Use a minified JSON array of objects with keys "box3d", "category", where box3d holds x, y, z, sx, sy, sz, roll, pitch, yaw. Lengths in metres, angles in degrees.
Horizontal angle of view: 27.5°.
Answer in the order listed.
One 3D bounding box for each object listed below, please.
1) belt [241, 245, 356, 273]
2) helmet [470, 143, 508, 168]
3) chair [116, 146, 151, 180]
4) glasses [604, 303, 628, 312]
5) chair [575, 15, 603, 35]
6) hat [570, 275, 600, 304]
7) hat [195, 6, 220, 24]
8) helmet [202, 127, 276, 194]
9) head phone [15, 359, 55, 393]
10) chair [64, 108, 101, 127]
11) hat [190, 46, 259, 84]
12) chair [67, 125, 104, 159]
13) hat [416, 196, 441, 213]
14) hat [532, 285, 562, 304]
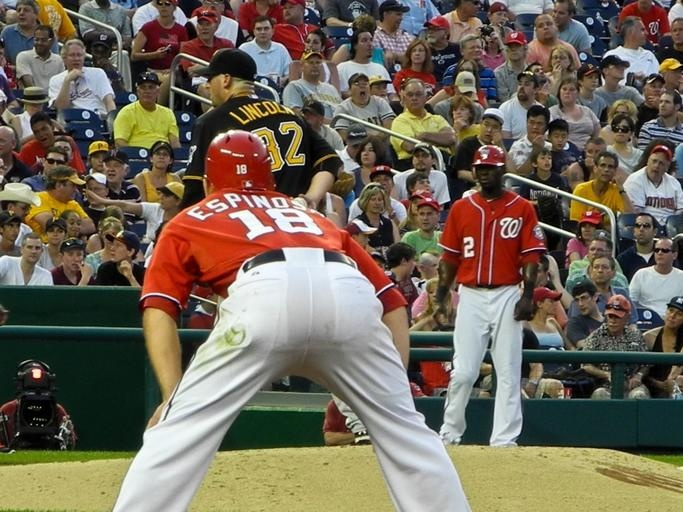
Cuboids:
[{"box3d":[-0.270,0.029,8.912,0.732,0.149,0.105,1,3,-7],"category":"belt"},{"box3d":[1.302,-0.878,12.279,0.274,0.187,0.203,1,2,0],"category":"helmet"},{"box3d":[-2.326,-1.105,15.970,0.366,0.426,0.370,3,-27,-12],"category":"chair"},{"box3d":[2.567,0.474,12.999,0.107,0.102,0.030,2,43,32],"category":"glasses"},{"box3d":[3.781,-3.487,21.067,0.388,0.402,0.353,4,0,-11],"category":"chair"},{"box3d":[2.375,0.314,13.652,0.191,0.180,0.246,0,7,11],"category":"hat"},{"box3d":[-1.681,-3.057,17.689,0.211,0.110,0.309,4,1,5],"category":"hat"},{"box3d":[-0.679,-0.631,9.120,0.376,0.391,0.434,-2,18,-5],"category":"helmet"},{"box3d":[-2.544,0.987,11.575,0.329,0.219,0.459,2,8,-16],"category":"head phone"},{"box3d":[-3.083,-1.633,16.589,0.323,0.180,0.241,-1,2,19],"category":"chair"},{"box3d":[-0.847,-1.409,10.287,0.347,0.174,0.241,17,17,13],"category":"hat"},{"box3d":[-3.002,-1.425,16.378,0.399,0.459,0.428,-1,-37,-9],"category":"chair"},{"box3d":[0.901,-0.540,14.618,0.247,0.111,0.335,2,0,14],"category":"hat"},{"box3d":[1.969,0.364,13.373,0.254,0.117,0.156,-5,4,-10],"category":"hat"}]
